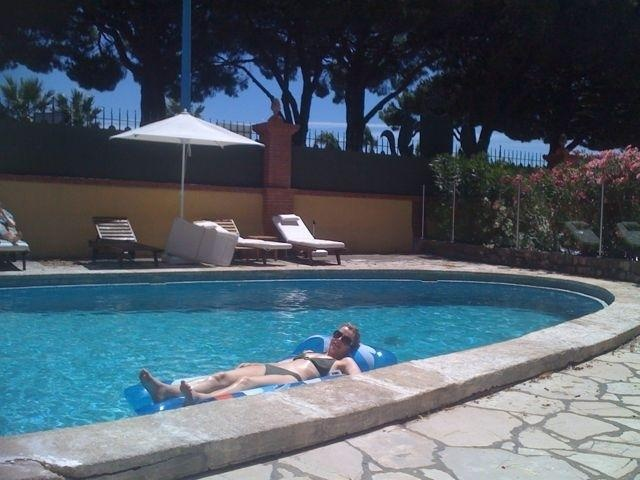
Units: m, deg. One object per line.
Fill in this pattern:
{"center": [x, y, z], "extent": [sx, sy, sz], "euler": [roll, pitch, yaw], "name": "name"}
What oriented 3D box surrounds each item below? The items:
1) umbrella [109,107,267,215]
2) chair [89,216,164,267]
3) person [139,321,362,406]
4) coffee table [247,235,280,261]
{"center": [-2.683, -1.793, 13.363], "extent": [4.146, 2.668, 3.309], "euler": [-3, 7, -33], "name": "umbrella"}
{"center": [-4.334, 0.006, 12.396], "extent": [0.975, 0.944, 1.955], "euler": [-1, 4, -36], "name": "chair"}
{"center": [-0.487, 0.949, 5.333], "extent": [1.406, 0.356, 0.862], "euler": [-2, -5, -34], "name": "person"}
{"center": [-1.388, 0.265, 14.187], "extent": [0.824, 0.751, 0.579], "euler": [0, 0, -33], "name": "coffee table"}
